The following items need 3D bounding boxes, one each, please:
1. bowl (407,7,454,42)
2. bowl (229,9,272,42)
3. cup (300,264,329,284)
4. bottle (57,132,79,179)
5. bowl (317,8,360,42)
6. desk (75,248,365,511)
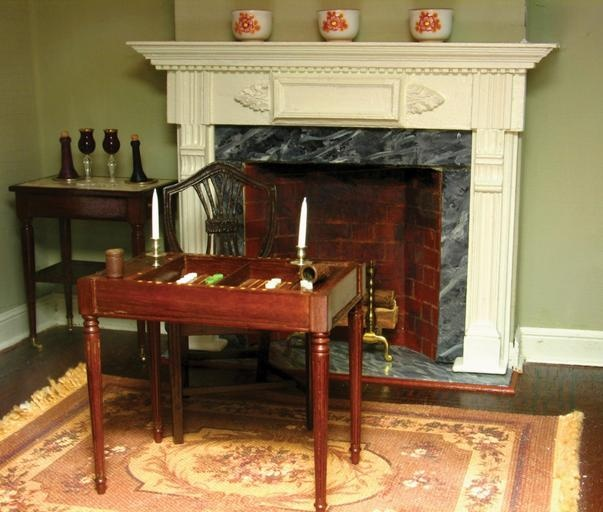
[{"bbox_3d":[0.669,-1.195,2.877,0.205,0.117,0.198,0,10,0],"label":"bowl"},{"bbox_3d":[-0.284,-1.259,3.054,0.205,0.112,0.181,2,11,4],"label":"bowl"},{"bbox_3d":[0.033,0.046,1.869,0.076,0.070,0.105,16,15,31],"label":"cup"},{"bbox_3d":[-1.516,-0.638,3.568,0.118,0.294,0.152,-5,11,-26],"label":"bottle"},{"bbox_3d":[0.195,-1.229,2.959,0.205,0.112,0.188,0,7,0],"label":"bowl"},{"bbox_3d":[-0.191,0.210,2.244,1.387,1.026,0.912,2,5,16],"label":"desk"}]
